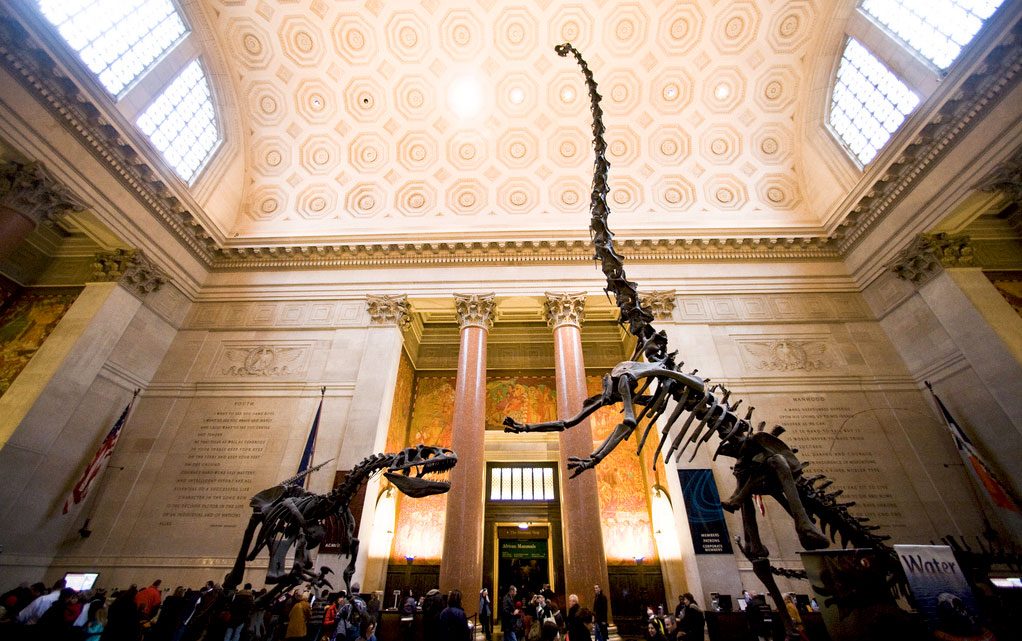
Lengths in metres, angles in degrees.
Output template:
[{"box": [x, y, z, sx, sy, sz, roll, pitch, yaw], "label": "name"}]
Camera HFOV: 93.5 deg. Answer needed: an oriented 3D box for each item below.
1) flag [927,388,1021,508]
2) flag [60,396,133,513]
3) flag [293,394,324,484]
[{"box": [9.530, 2.490, 10.108, 0.782, 2.769, 0.447, 15, -37, -24], "label": "flag"}, {"box": [-9.005, 2.741, 10.670, 0.752, 2.692, 0.482, -25, -40, 31], "label": "flag"}, {"box": [-4.560, 2.428, 11.094, 0.388, 1.917, 0.180, -11, -34, 14], "label": "flag"}]
